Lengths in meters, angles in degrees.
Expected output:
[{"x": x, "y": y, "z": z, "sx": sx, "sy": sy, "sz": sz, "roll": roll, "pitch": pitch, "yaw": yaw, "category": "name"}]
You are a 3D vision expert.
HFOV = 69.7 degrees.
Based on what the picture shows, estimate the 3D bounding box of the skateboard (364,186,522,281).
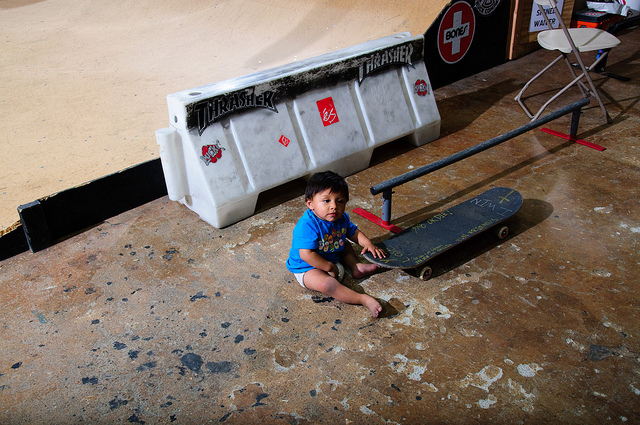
[{"x": 1.097, "y": 0.217, "z": 4.075, "sx": 1.287, "sy": 0.202, "sz": 0.327, "roll": -24, "pitch": 44, "yaw": -18, "category": "skateboard"}]
